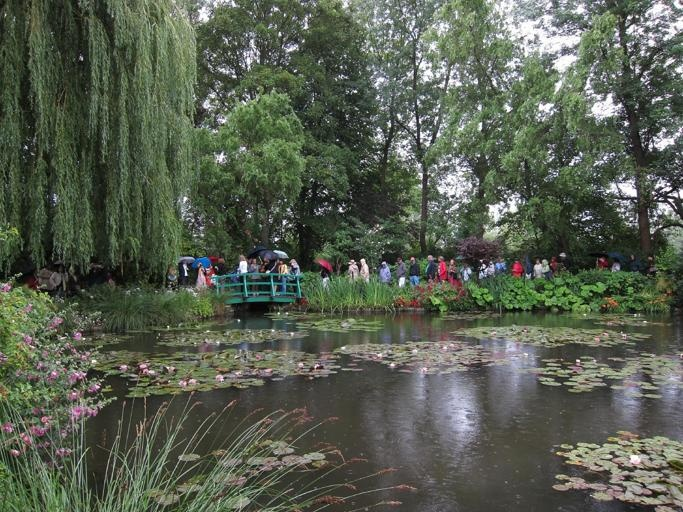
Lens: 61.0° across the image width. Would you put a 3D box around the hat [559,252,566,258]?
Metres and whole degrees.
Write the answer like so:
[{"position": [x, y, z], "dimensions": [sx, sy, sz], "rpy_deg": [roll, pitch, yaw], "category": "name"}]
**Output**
[{"position": [9.448, -0.054, 24.681], "dimensions": [0.352, 0.141, 0.341], "rpy_deg": [-6, 3, -28], "category": "hat"}]
